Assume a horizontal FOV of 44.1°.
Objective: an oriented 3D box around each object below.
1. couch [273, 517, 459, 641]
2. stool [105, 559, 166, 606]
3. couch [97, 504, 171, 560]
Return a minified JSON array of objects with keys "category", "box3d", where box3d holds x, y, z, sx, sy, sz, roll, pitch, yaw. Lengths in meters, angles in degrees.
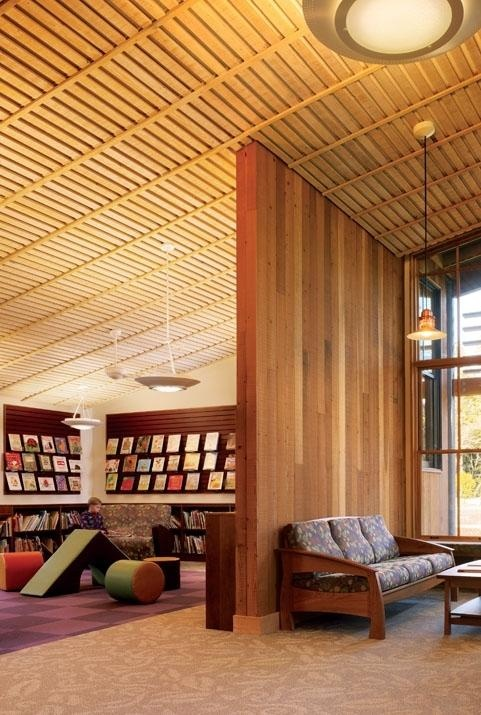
[{"category":"couch","box3d":[1.098,1.828,5.253,0.874,0.886,1.924,-5,-7,31]},{"category":"stool","box3d":[-1.080,2.274,6.334,0.594,0.483,0.497,-5,3,41]},{"category":"couch","box3d":[-1.766,2.905,9.694,1.018,0.652,0.530,-4,-14,19]}]
